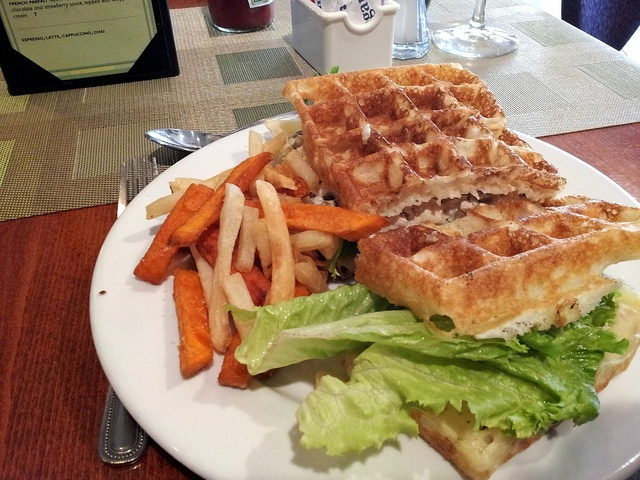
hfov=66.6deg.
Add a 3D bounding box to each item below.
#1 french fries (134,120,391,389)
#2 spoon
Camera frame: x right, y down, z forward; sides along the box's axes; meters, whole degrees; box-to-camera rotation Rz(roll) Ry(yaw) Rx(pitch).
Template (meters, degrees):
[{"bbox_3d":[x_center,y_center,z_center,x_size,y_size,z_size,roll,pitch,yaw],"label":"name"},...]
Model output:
[{"bbox_3d":[-0.315,-0.210,1.893,0.141,0.348,0.552,41,57,0],"label":"french fries"},{"bbox_3d":[-0.349,-0.491,2.203,0.879,0.102,0.144,-5,36,11],"label":"spoon"}]
